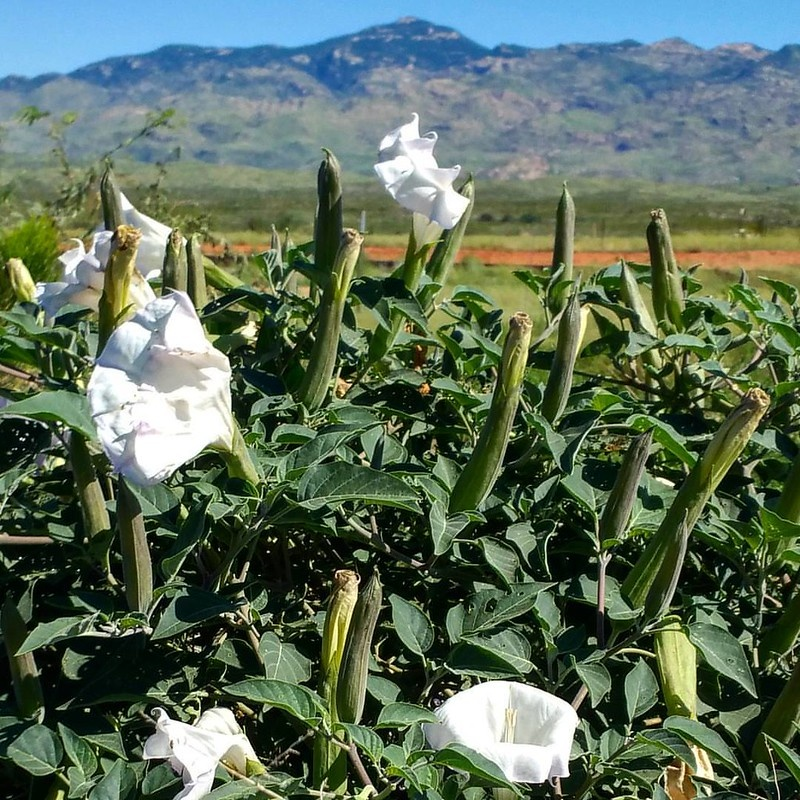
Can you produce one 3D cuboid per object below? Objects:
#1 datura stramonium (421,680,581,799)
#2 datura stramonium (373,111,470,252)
[{"bbox_3d":[0.103,0.385,0.973,0.160,0.071,0.136,4,19,-4],"label":"datura stramonium"},{"bbox_3d":[0.035,-0.396,1.490,0.166,0.184,0.133,7,20,16],"label":"datura stramonium"}]
